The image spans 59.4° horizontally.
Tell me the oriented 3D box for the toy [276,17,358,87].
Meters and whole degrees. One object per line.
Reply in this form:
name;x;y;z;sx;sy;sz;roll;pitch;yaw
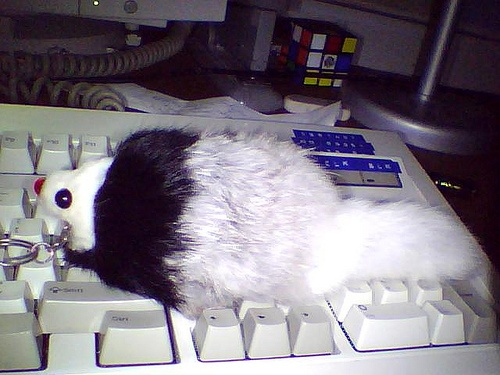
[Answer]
toy;0.130;-0.273;0.902;0.132;0.088;0.124;-1;29;-26

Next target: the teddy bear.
teddy bear;-0.016;0.032;0.396;0.454;0.175;0.128;2;-31;-10
